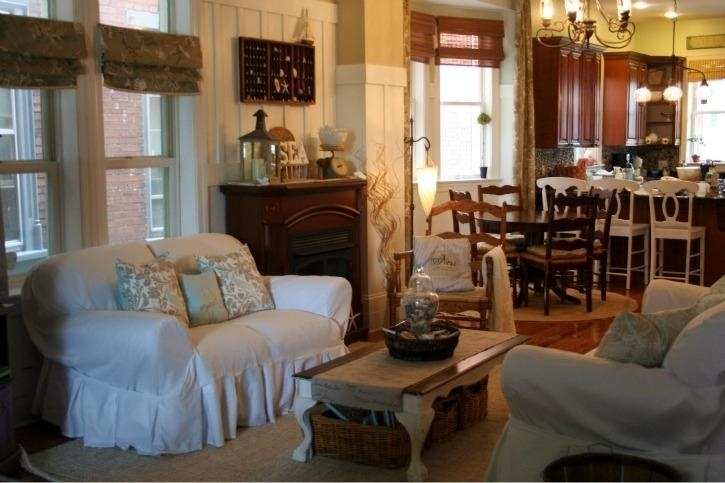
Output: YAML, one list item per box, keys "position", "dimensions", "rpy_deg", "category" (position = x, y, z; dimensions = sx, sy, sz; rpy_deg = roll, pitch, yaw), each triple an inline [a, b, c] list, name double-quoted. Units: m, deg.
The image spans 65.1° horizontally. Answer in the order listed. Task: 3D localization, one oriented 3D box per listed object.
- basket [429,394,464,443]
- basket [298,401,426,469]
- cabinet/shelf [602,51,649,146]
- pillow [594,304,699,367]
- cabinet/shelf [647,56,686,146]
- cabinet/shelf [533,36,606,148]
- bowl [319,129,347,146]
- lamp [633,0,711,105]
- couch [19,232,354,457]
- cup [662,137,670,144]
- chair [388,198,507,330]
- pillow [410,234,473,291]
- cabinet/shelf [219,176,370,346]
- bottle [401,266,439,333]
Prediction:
- position: [0.563, 1.184, 3.661]
  dimensions: [0.166, 0.206, 0.277]
  rpy_deg: [-7, -31, 15]
  category: "basket"
- position: [-0.024, 1.095, 3.355]
  dimensions: [0.460, 0.181, 0.355]
  rpy_deg: [2, 1, 19]
  category: "basket"
- position: [4.686, -2.438, 10.104]
  dimensions: [0.458, 1.549, 0.946]
  rpy_deg: [6, 10, 44]
  category: "cabinet/shelf"
- position: [1.368, 0.464, 2.750]
  dimensions: [0.347, 0.330, 0.104]
  rpy_deg: [12, -1, -5]
  category: "pillow"
- position: [5.364, -2.509, 10.327]
  dimensions: [0.782, 1.300, 0.376]
  rpy_deg: [5, 3, 11]
  category: "cabinet/shelf"
- position: [3.257, -2.273, 9.083]
  dimensions: [0.580, 1.544, 1.655]
  rpy_deg: [8, 14, 43]
  category: "cabinet/shelf"
- position: [-0.287, -0.982, 5.287]
  dimensions: [0.181, 0.093, 0.181]
  rpy_deg: [0, 1, 0]
  category: "bowl"
- position: [5.240, -3.143, 9.633]
  dimensions: [1.108, 1.542, 2.129]
  rpy_deg: [5, 11, 28]
  category: "lamp"
- position: [-1.224, 0.615, 4.329]
  dimensions: [1.458, 1.090, 2.104]
  rpy_deg: [4, 6, 29]
  category: "couch"
- position: [5.532, -1.844, 10.378]
  dimensions: [0.158, 0.104, 0.082]
  rpy_deg: [-1, 10, -1]
  category: "cup"
- position: [0.662, 0.216, 5.212]
  dimensions: [1.027, 1.416, 0.941]
  rpy_deg: [3, -10, 35]
  category: "chair"
- position: [0.700, 0.200, 5.031]
  dimensions: [0.540, 0.504, 0.184]
  rpy_deg: [0, 8, 3]
  category: "pillow"
- position: [-0.596, 0.123, 4.544]
  dimensions: [0.500, 1.385, 1.455]
  rpy_deg: [2, 7, 33]
  category: "cabinet/shelf"
- position: [0.328, 0.375, 3.317]
  dimensions: [0.198, 0.364, 0.097]
  rpy_deg: [0, 10, 3]
  category: "bottle"
